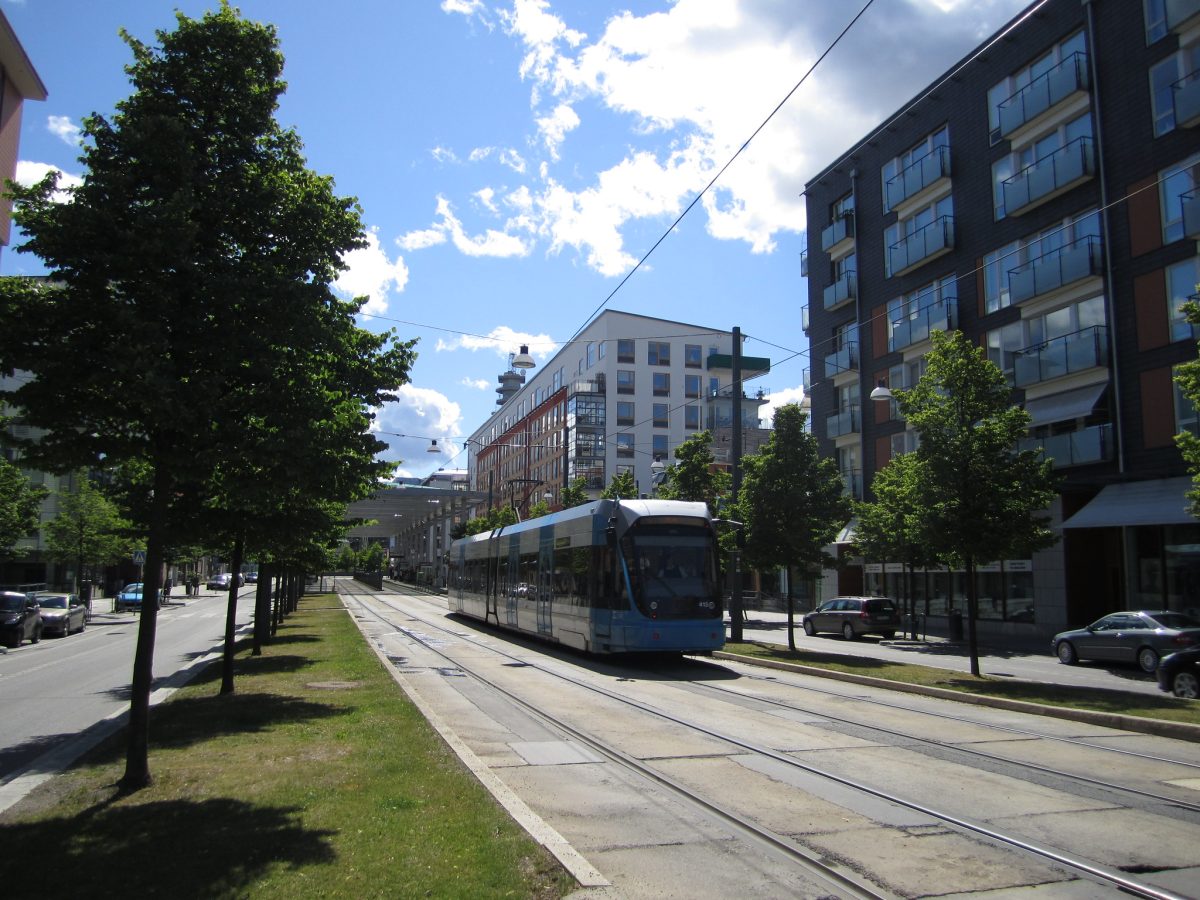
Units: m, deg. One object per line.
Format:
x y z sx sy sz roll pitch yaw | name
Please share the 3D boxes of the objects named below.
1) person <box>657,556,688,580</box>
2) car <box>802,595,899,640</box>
1.687 2.744 22.661 0.510 0.280 0.704 2 1 7 | person
9.361 6.074 35.595 1.478 1.148 3.233 4 -7 -25 | car
